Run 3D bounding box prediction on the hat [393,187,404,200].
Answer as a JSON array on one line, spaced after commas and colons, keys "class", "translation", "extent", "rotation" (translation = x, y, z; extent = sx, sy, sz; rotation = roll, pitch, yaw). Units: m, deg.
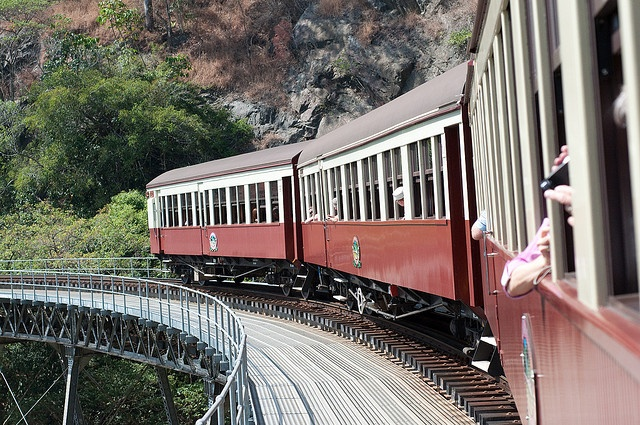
[{"class": "hat", "translation": [1.113, -0.282, 9.511], "extent": [0.038, 0.149, 0.157], "rotation": [23, 26, -30]}]
